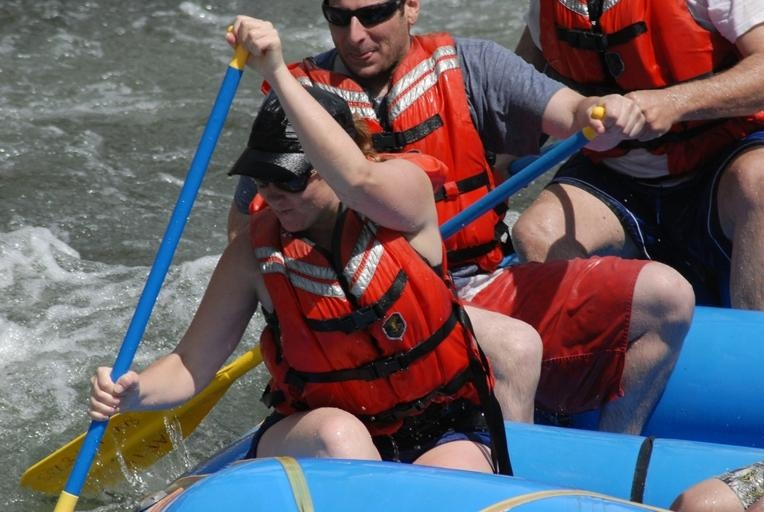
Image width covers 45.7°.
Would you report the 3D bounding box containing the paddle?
[{"bbox_3d":[-0.265,0.229,3.681,2.971,0.426,0.211,-35,-10,-10],"label":"paddle"}]
